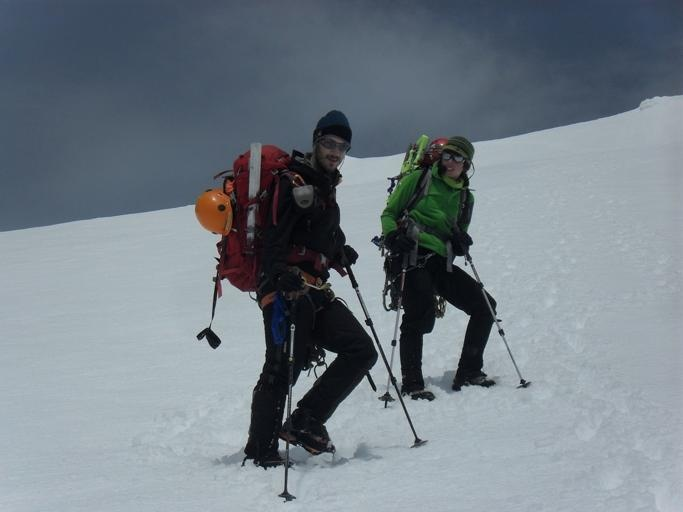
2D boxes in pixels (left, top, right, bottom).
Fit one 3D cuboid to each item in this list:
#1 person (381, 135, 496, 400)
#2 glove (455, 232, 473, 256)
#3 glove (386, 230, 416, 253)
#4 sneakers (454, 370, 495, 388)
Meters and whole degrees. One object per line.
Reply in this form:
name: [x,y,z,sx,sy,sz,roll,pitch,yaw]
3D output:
person: [1.385,0.134,13.101,1.514,3.538,1.185,-1,10,3]
glove: [1.758,-0.154,13.068,0.119,0.306,0.236,2,-15,21]
glove: [0.846,-0.188,12.987,0.403,0.317,0.343,-4,10,-17]
sneakers: [1.883,1.766,12.929,0.525,0.217,0.241,-6,0,9]
